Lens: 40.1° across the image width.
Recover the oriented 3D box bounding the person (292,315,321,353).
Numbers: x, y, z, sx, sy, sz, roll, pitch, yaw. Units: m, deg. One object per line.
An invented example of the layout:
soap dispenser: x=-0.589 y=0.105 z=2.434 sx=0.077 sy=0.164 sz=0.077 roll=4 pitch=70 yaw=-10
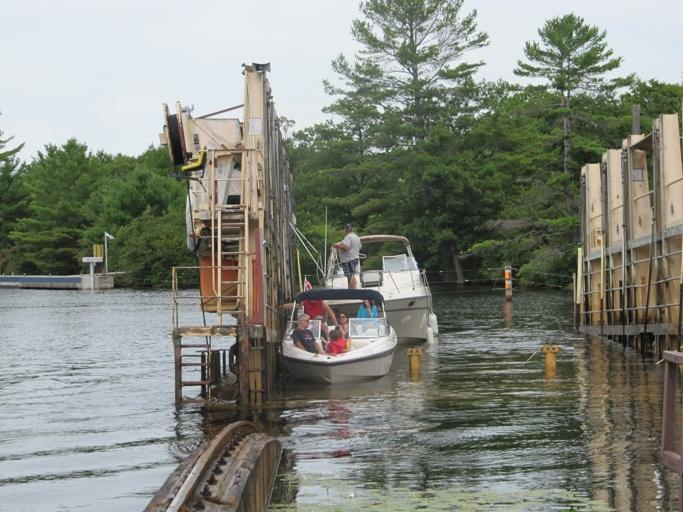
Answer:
person: x=-0.869 y=1.853 z=21.644 sx=0.724 sy=0.894 sz=0.497 roll=-4 pitch=-3 yaw=18

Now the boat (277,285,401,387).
boat: x=-0.187 y=2.045 z=22.521 sx=2.036 sy=1.825 sz=3.969 roll=-1 pitch=-4 yaw=1
